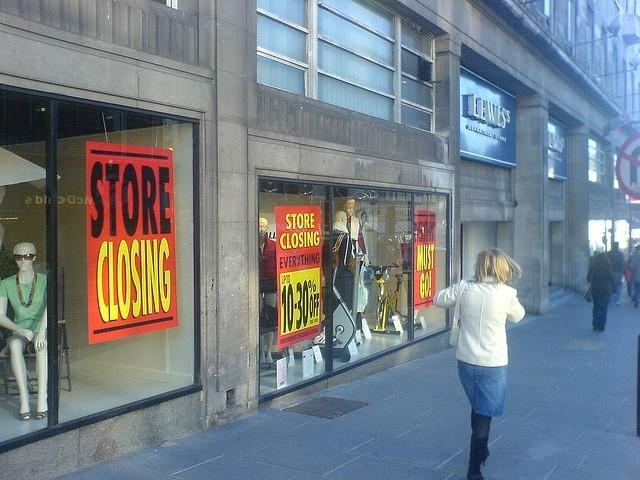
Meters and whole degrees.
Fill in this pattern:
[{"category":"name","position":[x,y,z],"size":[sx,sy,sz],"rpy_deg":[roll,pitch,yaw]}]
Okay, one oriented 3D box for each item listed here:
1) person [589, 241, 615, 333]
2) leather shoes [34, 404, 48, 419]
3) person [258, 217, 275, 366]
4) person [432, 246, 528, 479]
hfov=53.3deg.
[{"category":"person","position":[6.764,1.244,15.525],"size":[0.556,1.909,0.779],"rpy_deg":[1,1,23]},{"category":"leather shoes","position":[-2.858,1.774,6.605],"size":[0.080,0.155,0.144],"rpy_deg":[-2,-11,17]},{"category":"person","position":[-0.737,0.705,8.867],"size":[0.130,2.061,0.435],"rpy_deg":[1,1,23]},{"category":"person","position":[1.678,1.273,6.642],"size":[0.784,2.342,0.372],"rpy_deg":[1,1,19]}]
